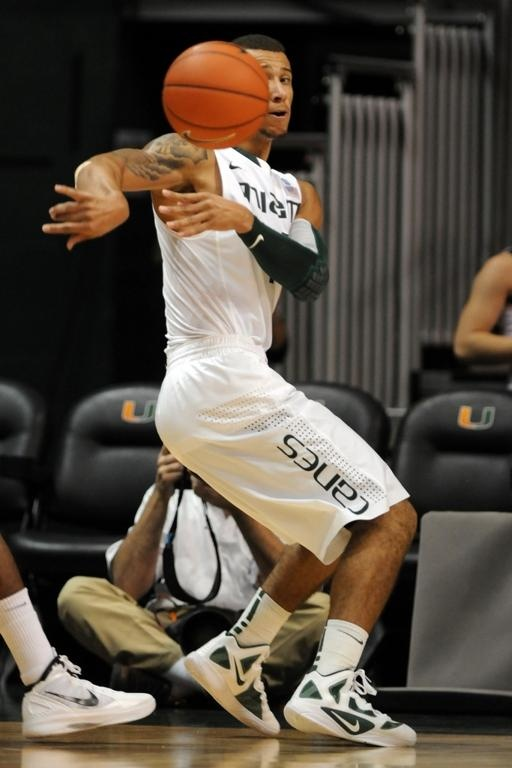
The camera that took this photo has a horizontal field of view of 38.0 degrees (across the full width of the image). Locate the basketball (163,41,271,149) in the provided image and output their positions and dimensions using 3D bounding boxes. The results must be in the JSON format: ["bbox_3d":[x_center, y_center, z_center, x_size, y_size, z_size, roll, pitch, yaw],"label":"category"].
[{"bbox_3d":[-0.056,-0.422,1.085,0.124,0.151,0.152,12,23,20],"label":"basketball"}]

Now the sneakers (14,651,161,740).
[{"bbox_3d":[-0.296,0.541,1.325,0.271,0.146,0.091,-5,-15,-22],"label":"sneakers"}]
